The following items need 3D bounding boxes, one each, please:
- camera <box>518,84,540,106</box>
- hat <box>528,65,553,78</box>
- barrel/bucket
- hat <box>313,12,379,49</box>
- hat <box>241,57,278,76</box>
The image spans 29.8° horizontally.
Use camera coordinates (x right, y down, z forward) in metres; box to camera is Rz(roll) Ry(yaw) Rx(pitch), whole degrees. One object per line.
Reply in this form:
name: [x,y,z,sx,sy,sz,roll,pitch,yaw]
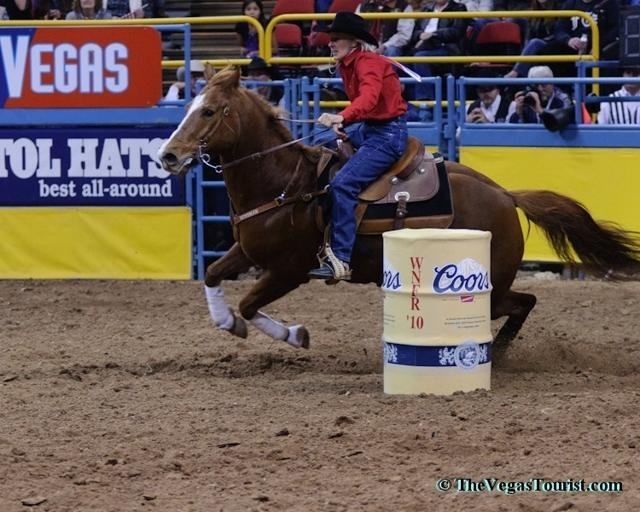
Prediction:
camera: [2.479,-1.901,14.111,0.285,0.103,0.268,-7,18,10]
hat: [2.612,-2.180,14.169,0.269,0.178,0.201,9,8,35]
barrel/bucket: [0.910,0.453,9.287,0.830,1.297,0.434,0,14,3]
hat: [0.260,-1.909,10.000,0.480,0.152,0.347,18,4,-15]
hat: [-0.699,-2.236,14.138,0.361,0.108,0.271,-6,7,-11]
